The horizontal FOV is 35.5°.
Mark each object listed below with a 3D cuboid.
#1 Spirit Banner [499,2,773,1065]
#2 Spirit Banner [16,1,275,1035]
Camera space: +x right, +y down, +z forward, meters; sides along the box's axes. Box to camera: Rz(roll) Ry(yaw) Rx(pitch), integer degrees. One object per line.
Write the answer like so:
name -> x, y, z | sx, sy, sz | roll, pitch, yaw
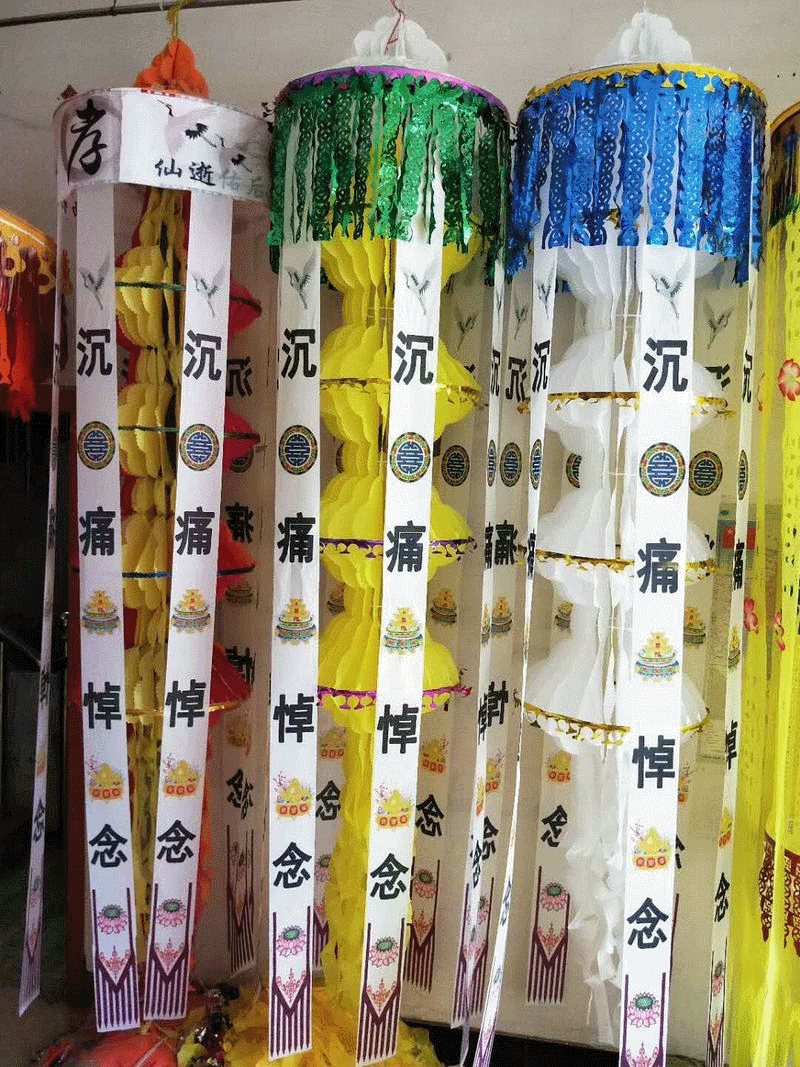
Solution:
Spirit Banner -> 0.438, -0.052, 2.340 | 0.216, 2.237, 0.534 | 0, 4, 14
Spirit Banner -> -0.545, -0.031, 2.606 | 0.605, 2.210, 0.445 | 2, 3, 33
